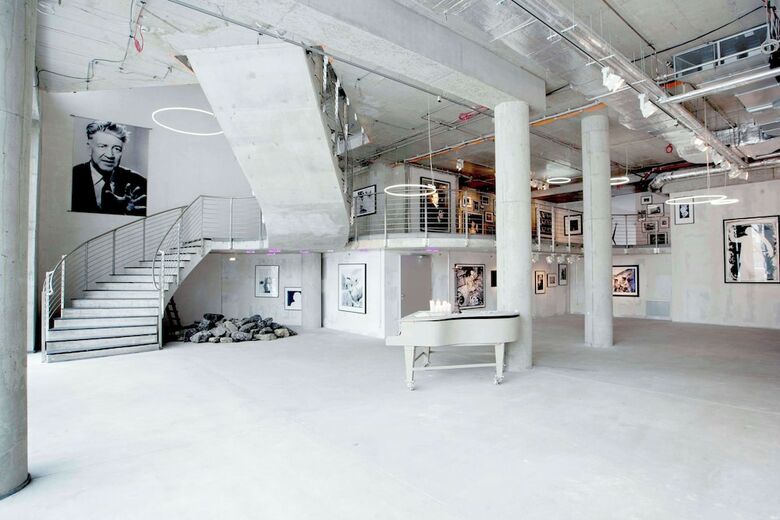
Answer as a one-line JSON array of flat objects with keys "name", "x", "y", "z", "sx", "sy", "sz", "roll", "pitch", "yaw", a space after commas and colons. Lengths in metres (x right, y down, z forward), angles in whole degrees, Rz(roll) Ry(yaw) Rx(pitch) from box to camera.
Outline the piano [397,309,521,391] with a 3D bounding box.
[{"name": "piano", "x": 1.201, "y": 1.711, "z": 10.224, "sx": 2.260, "sy": 1.534, "sz": 2.303, "roll": -2, "pitch": -3, "yaw": 44}]

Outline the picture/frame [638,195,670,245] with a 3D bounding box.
[{"name": "picture/frame", "x": 10.898, "y": -1.701, "z": 20.277, "sx": 0.499, "sy": 1.995, "sz": 1.403, "roll": -4, "pitch": 12, "yaw": -15}]

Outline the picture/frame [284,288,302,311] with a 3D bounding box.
[{"name": "picture/frame", "x": -3.307, "y": 1.325, "z": 16.835, "sx": 0.793, "sy": 0.724, "sz": 0.075, "roll": -1, "pitch": -4, "yaw": 9}]

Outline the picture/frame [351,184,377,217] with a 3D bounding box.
[{"name": "picture/frame", "x": -0.948, "y": -2.242, "z": 18.568, "sx": 0.067, "sy": 1.279, "sz": 1.843, "roll": 1, "pitch": 0, "yaw": -34}]

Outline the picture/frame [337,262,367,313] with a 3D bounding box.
[{"name": "picture/frame", "x": -1.143, "y": 0.853, "z": 15.445, "sx": 0.069, "sy": 1.675, "sz": 1.592, "roll": 4, "pitch": -7, "yaw": -38}]

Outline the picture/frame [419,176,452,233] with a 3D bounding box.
[{"name": "picture/frame", "x": 1.611, "y": -1.965, "z": 17.838, "sx": 0.123, "sy": 2.553, "sz": 2.557, "roll": -6, "pitch": -6, "yaw": 37}]

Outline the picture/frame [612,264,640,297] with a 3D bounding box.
[{"name": "picture/frame", "x": 9.261, "y": 0.788, "z": 19.114, "sx": 0.097, "sy": 1.268, "sz": 1.298, "roll": 7, "pitch": -6, "yaw": -36}]

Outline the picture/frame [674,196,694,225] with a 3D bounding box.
[{"name": "picture/frame", "x": 10.308, "y": -1.591, "z": 17.135, "sx": 0.681, "sy": 0.740, "sz": 0.222, "roll": 8, "pitch": 14, "yaw": 36}]
